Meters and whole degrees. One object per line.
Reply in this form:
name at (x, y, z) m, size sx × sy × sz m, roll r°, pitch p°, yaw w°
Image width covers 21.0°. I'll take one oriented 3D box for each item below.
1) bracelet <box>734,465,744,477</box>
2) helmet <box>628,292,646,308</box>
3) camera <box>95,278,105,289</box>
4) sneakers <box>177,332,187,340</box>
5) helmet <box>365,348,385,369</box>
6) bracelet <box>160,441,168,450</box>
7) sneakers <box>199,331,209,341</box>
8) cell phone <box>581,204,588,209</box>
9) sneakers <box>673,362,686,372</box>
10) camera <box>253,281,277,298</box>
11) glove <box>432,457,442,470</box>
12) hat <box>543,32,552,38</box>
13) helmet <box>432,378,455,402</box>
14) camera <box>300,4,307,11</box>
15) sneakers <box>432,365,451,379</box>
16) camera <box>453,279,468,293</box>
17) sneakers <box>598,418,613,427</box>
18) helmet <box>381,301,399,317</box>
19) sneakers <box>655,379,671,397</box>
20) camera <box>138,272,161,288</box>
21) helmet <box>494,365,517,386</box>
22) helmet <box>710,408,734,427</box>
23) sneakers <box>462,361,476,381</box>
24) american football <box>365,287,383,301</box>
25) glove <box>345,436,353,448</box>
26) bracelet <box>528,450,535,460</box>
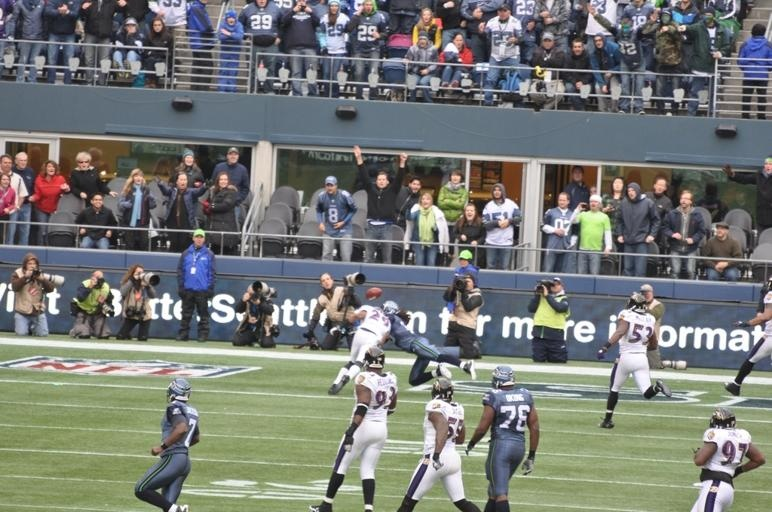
bracelet at (6.828, 4.095, 40.349) m, size 0.159 × 0.225 × 0.073 m, roll 26°, pitch 6°, yaw -22°
helmet at (5.349, 0.931, 44.297) m, size 0.306 × 0.343 × 0.342 m, roll 12°, pitch -29°, yaw 17°
camera at (-6.767, 0.577, 49.110) m, size 0.219 × 0.202 × 0.188 m, roll -4°, pitch -34°, yaw 23°
sneakers at (-4.875, 1.857, 49.825) m, size 0.263 × 0.210 × 0.243 m, roll 3°, pitch 0°, yaw -12°
helmet at (-0.208, 1.946, 40.724) m, size 0.310 × 0.384 × 0.415 m, roll 1°, pitch 14°, yaw -11°
bracelet at (-4.261, 3.586, 39.877) m, size 0.122 × 0.130 × 0.129 m, roll -35°, pitch 56°, yaw -22°
sneakers at (-4.374, 1.881, 49.918) m, size 0.199 × 0.203 × 0.192 m, roll -1°, pitch 1°, yaw 14°
cell phone at (4.870, -1.281, 51.099) m, size 0.084 × 0.088 × 0.157 m, roll -9°, pitch 21°, yaw 9°
sneakers at (7.010, 2.587, 49.554) m, size 0.192 × 0.180 × 0.227 m, roll -1°, pitch -8°, yaw -10°
camera at (-2.802, 0.752, 49.099) m, size 0.489 × 0.374 × 1.060 m, roll 3°, pitch 0°, yaw 18°
glove at (0.988, 3.952, 40.006) m, size 0.185 × 0.193 × 0.136 m, roll -1°, pitch 2°, yaw 3°
hat at (4.031, -5.543, 51.794) m, size 0.262 × 0.152 × 0.404 m, roll 3°, pitch 0°, yaw 0°
helmet at (1.120, 2.535, 40.410) m, size 0.336 × 0.461 × 0.449 m, roll 4°, pitch -4°, yaw -9°
camera at (-2.073, -6.246, 51.958) m, size 0.111 × 0.101 × 0.167 m, roll 5°, pitch -9°, yaw -9°
sneakers at (1.170, 2.257, 41.524) m, size 0.215 × 0.285 × 0.652 m, roll 4°, pitch -11°, yaw -13°
camera at (1.717, 0.630, 48.193) m, size 0.330 × 0.307 × 0.504 m, roll 3°, pitch 0°, yaw 2°
sneakers at (4.755, 3.552, 44.745) m, size 0.283 × 0.187 × 0.327 m, roll 3°, pitch 0°, yaw 9°
helmet at (0.064, 1.048, 44.629) m, size 0.253 × 0.337 × 0.345 m, roll 29°, pitch -37°, yaw 9°
sneakers at (5.784, 2.722, 43.699) m, size 0.227 × 0.185 × 0.530 m, roll -9°, pitch 19°, yaw -26°
camera at (-5.584, 0.513, 49.253) m, size 0.345 × 0.292 × 0.515 m, roll 3°, pitch 0°, yaw 26°
helmet at (2.283, 2.278, 40.675) m, size 0.321 × 0.401 × 0.414 m, roll -1°, pitch 12°, yaw -16°
helmet at (6.511, 3.083, 40.156) m, size 0.390 × 0.354 × 0.319 m, roll 9°, pitch 3°, yaw 30°
sneakers at (1.779, 2.450, 44.681) m, size 0.256 × 0.203 × 0.596 m, roll -7°, pitch -29°, yaw 7°
american football at (-0.286, 0.774, 45.448) m, size 0.251 × 0.220 × 0.354 m, roll -4°, pitch 2°, yaw -1°
glove at (-0.735, 3.566, 40.331) m, size 0.156 × 0.209 × 0.210 m, roll 6°, pitch -2°, yaw 0°
bracelet at (2.826, 3.835, 40.630) m, size 0.114 × 0.220 × 0.187 m, roll 3°, pitch -9°, yaw 35°
